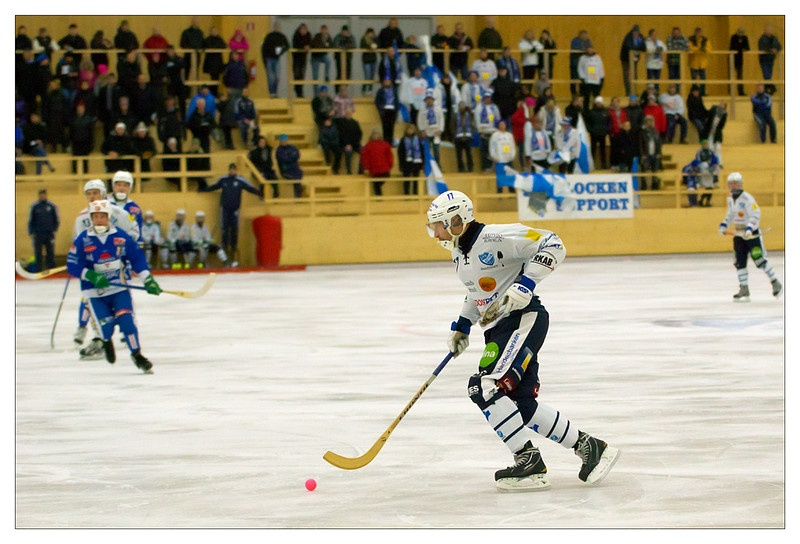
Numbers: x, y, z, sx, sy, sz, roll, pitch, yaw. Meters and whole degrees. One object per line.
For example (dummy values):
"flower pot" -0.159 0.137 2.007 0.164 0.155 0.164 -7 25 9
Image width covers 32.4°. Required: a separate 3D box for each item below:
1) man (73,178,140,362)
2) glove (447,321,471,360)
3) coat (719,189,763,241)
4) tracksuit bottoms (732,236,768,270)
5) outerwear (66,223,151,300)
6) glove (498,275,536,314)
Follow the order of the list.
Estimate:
"man" -4.750 0.201 22.532 1.028 2.754 0.840 -12 29 -18
"glove" 0.833 0.942 19.124 0.294 0.499 0.221 24 -4 15
"coat" 6.618 -1.131 26.792 0.536 0.842 0.955 -6 13 -23
"tracksuit bottoms" 6.955 -0.364 27.340 0.683 0.894 0.372 0 -20 15
"outerwear" -4.836 -0.235 22.460 1.737 1.599 1.006 -4 2 -26
"glove" 1.580 0.313 18.374 0.380 0.517 0.215 25 -15 36
